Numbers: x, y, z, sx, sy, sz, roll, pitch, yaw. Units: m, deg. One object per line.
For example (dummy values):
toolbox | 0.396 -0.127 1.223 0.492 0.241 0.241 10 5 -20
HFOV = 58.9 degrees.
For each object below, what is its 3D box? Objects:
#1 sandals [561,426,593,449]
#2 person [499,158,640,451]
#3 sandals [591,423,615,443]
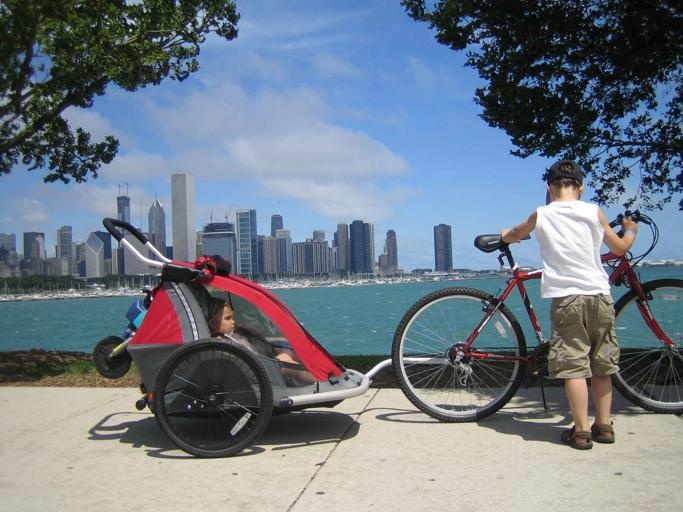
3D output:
sandals | 1.910 1.447 4.933 0.242 0.165 0.178 -1 4 30
person | 1.952 0.528 5.128 0.907 1.977 0.700 -1 4 22
sandals | 2.171 1.447 5.021 0.179 0.140 0.131 -1 3 22
